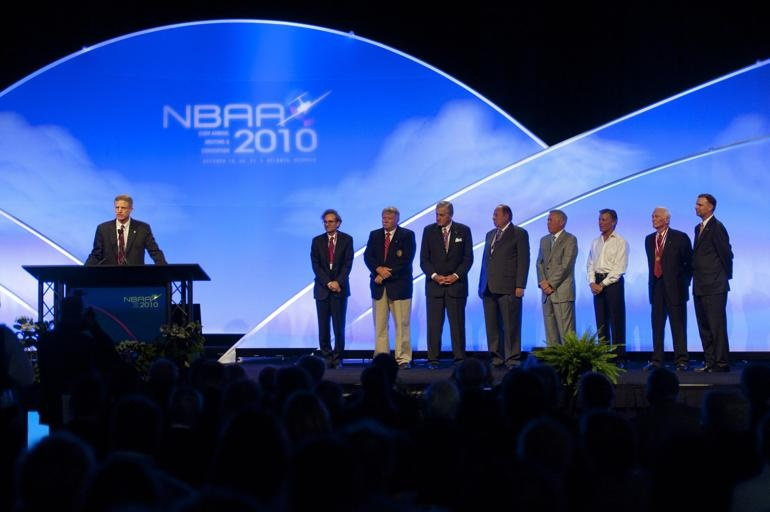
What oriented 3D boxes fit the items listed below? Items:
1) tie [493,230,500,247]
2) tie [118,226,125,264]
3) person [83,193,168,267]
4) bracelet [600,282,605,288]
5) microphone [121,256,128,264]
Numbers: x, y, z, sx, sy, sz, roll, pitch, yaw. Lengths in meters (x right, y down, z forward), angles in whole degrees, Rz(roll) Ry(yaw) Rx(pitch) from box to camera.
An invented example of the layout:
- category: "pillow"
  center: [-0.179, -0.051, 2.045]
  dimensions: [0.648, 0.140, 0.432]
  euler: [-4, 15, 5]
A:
- category: "tie"
  center: [1.614, -0.257, 11.076]
  dimensions: [0.044, 0.177, 0.110]
  euler: [22, -16, -28]
- category: "tie"
  center: [-3.493, -0.141, 10.195]
  dimensions: [0.094, 0.478, 0.035]
  euler: [-1, -11, -9]
- category: "person"
  center: [-3.764, -0.349, 10.963]
  dimensions: [1.031, 1.416, 0.519]
  euler: [-2, -16, -12]
- category: "bracelet"
  center: [3.131, 0.431, 11.089]
  dimensions: [0.065, 0.063, 0.047]
  euler: [-14, 11, -42]
- category: "microphone"
  center: [-3.445, 0.069, 10.173]
  dimensions: [0.051, 0.110, 0.128]
  euler: [4, -1, -2]
